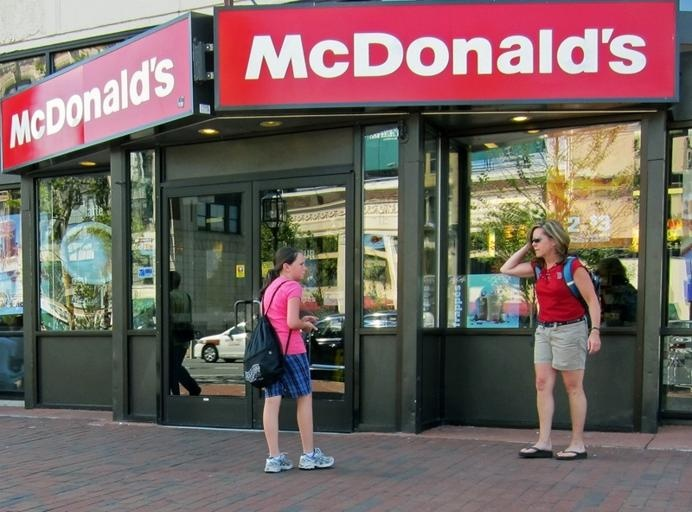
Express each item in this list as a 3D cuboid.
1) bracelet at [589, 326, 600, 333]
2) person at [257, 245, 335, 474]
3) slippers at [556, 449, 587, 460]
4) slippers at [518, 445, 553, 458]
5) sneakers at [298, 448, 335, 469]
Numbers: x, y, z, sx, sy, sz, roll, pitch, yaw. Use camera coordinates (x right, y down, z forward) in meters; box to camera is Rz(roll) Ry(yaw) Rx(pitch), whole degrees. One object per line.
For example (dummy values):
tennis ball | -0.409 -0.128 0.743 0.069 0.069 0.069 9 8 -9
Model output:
bracelet | 2.453 0.715 8.291 0.065 0.051 0.080 -1 3 16
person | -0.503 1.003 8.201 0.601 2.157 0.397 -2 2 0
slippers | 2.245 1.978 8.393 0.216 0.061 0.123 3 -4 1
slippers | 1.909 1.982 8.444 0.245 0.080 0.139 2 -3 8
sneakers | -0.288 1.997 8.284 0.384 0.193 0.152 0 -3 -16
